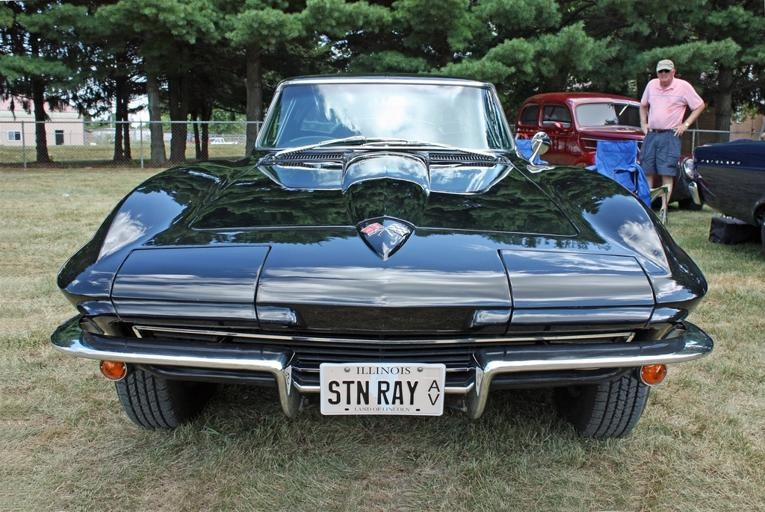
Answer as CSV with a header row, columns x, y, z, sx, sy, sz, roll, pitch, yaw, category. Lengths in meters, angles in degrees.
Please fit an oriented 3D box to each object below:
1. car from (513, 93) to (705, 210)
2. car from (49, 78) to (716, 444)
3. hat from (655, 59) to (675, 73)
x,y,z,sx,sy,sz,roll,pitch,yaw,category
3.785,-2.092,10.949,1.976,1.208,2.898,-12,21,-10,car
0.007,-0.240,3.668,3.129,1.646,2.075,0,14,0,car
3.449,-2.321,7.847,0.165,0.155,0.247,4,14,16,hat
